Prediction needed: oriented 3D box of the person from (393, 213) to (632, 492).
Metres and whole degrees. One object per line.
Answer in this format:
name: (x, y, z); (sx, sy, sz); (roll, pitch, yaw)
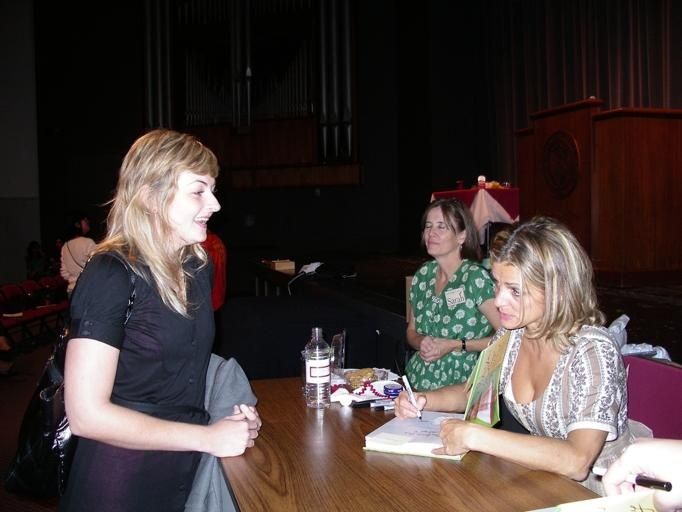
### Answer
person: (0.582, 0.248, 1.972); (0.844, 1.379, 0.713); (-1, 3, -13)

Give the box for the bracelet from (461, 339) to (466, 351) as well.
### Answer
bracelet: (0.605, 0.445, 2.450); (0.027, 0.047, 0.044); (5, 25, 7)

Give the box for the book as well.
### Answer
book: (0.302, 0.422, 1.533); (0.258, 0.356, 0.384); (5, -1, 8)
